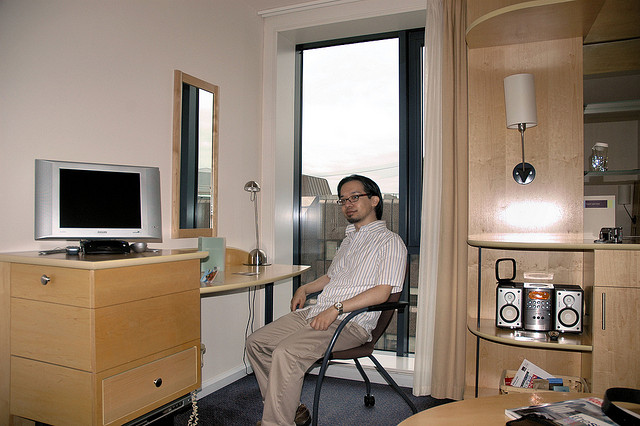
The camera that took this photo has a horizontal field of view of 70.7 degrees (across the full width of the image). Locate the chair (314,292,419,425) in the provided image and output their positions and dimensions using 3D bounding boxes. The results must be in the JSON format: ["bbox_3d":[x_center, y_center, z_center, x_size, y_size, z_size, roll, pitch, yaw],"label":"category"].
[{"bbox_3d":[0.352,1.065,3.252,0.573,0.973,0.897,-2,1,17],"label":"chair"}]

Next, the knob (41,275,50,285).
[{"bbox_3d":[-1.533,0.377,2.512,0.044,0.053,0.023,-2,2,28],"label":"knob"}]

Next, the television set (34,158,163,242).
[{"bbox_3d":[-1.454,-0.069,3.011,0.762,0.503,0.129,2,-6,-41],"label":"television set"}]
